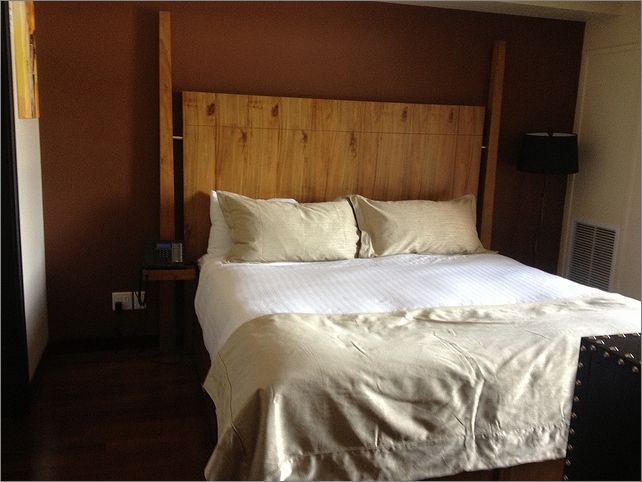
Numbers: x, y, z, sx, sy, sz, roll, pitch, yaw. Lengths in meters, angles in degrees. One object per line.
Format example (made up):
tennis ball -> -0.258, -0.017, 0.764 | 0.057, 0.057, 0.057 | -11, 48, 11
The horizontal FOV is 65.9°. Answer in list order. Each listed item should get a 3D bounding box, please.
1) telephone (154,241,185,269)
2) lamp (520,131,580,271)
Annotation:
telephone -> -1.014, 0.091, 3.325 | 0.164, 0.186, 0.052 | 1, -6, -5
lamp -> 1.894, -0.373, 4.104 | 0.364, 1.398, 0.398 | -7, 32, -1
